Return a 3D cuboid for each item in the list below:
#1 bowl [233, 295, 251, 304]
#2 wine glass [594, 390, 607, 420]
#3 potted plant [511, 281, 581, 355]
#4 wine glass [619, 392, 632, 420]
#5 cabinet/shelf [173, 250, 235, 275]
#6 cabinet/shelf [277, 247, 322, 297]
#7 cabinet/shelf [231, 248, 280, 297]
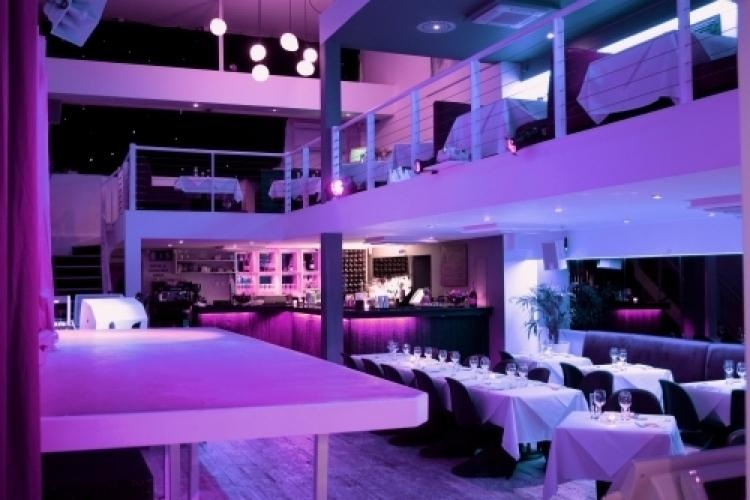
[{"bbox_3d":[-2.774,1.009,12.802,0.333,0.148,0.340,1,-3,0],"label":"bowl"},{"bbox_3d":[1.982,1.343,5.451,0.089,0.218,0.283,-1,-3,26],"label":"wine glass"},{"bbox_3d":[2.826,1.131,10.122,0.872,0.915,0.912,-1,0,17],"label":"potted plant"},{"bbox_3d":[2.197,1.344,5.411,0.087,0.207,0.378,0,-3,21],"label":"wine glass"},{"bbox_3d":[-4.117,0.261,14.858,1.373,0.569,0.453,2,-3,-20],"label":"cabinet/shelf"},{"bbox_3d":[-1.896,0.474,14.890,1.019,1.038,0.344,-4,11,-35],"label":"cabinet/shelf"},{"bbox_3d":[-2.860,0.500,14.840,1.135,1.172,0.419,-2,-18,4],"label":"cabinet/shelf"}]
